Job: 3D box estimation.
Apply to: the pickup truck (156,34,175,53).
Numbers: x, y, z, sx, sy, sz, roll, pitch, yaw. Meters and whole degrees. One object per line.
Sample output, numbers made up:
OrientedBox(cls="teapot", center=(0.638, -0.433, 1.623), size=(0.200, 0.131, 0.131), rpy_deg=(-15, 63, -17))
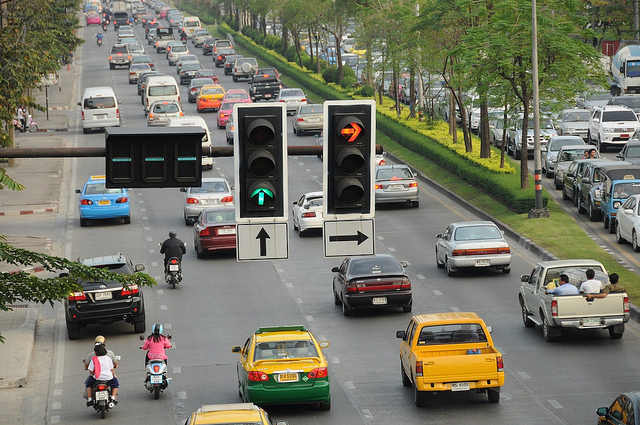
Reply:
OrientedBox(cls="pickup truck", center=(-17.526, -19.187, 115.235), size=(1.741, 1.479, 3.074), rpy_deg=(-2, 2, -12))

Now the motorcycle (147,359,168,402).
OrientedBox(cls="motorcycle", center=(-4.269, 4.308, 26.864), size=(0.503, 1.014, 0.297), rpy_deg=(-4, 13, -9))

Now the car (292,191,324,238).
OrientedBox(cls="car", center=(-0.426, 0.090, 43.110), size=(0.920, 1.752, 1.493), rpy_deg=(-9, 15, -28))

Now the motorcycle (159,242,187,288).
OrientedBox(cls="motorcycle", center=(-5.226, 2.038, 36.271), size=(0.805, 0.937, 1.524), rpy_deg=(0, 5, -6))

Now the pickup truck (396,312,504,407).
OrientedBox(cls="pickup truck", center=(3.310, 3.578, 25.743), size=(1.685, 1.268, 2.837), rpy_deg=(-1, 12, -4))

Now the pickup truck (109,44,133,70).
OrientedBox(cls="pickup truck", center=(-19.672, -15.511, 101.086), size=(1.699, 1.583, 3.206), rpy_deg=(-2, 14, -8))

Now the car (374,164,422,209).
OrientedBox(cls="car", center=(3.633, -1.241, 49.407), size=(2.537, 1.797, 5.541), rpy_deg=(-2, 4, 3))

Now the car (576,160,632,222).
OrientedBox(cls="car", center=(12.507, -1.109, 44.064), size=(2.441, 2.250, 4.584), rpy_deg=(-1, 5, 10))

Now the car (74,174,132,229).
OrientedBox(cls="car", center=(-10.142, -0.782, 47.502), size=(2.504, 2.080, 5.457), rpy_deg=(-4, 9, -13))

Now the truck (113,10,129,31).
OrientedBox(cls="truck", center=(-28.432, -27.626, 146.585), size=(1.892, 1.705, 3.389), rpy_deg=(-1, 17, -6))

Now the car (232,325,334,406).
OrientedBox(cls="car", center=(-1.029, 3.776, 26.493), size=(2.382, 1.647, 4.011), rpy_deg=(0, 7, -5))

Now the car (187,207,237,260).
OrientedBox(cls="car", center=(-4.167, 0.491, 41.963), size=(2.132, 1.769, 5.022), rpy_deg=(-3, 9, -11))

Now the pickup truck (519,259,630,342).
OrientedBox(cls="pickup truck", center=(7.642, 2.603, 30.614), size=(2.569, 2.202, 2.396), rpy_deg=(-3, 13, -5))

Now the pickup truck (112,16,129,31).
OrientedBox(cls="pickup truck", center=(-28.277, -26.739, 145.303), size=(1.890, 1.923, 3.186), rpy_deg=(-4, 14, -10))

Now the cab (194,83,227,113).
OrientedBox(cls="cab", center=(-7.873, -8.115, 73.203), size=(2.283, 1.566, 4.452), rpy_deg=(-2, 13, -8))

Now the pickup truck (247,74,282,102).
OrientedBox(cls="pickup truck", center=(-4.226, -9.502, 80.784), size=(2.735, 1.921, 4.363), rpy_deg=(-4, 5, -12))

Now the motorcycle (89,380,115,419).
OrientedBox(cls="motorcycle", center=(-5.548, 4.652, 26.011), size=(0.621, 0.890, 0.553), rpy_deg=(-5, 14, -13))
